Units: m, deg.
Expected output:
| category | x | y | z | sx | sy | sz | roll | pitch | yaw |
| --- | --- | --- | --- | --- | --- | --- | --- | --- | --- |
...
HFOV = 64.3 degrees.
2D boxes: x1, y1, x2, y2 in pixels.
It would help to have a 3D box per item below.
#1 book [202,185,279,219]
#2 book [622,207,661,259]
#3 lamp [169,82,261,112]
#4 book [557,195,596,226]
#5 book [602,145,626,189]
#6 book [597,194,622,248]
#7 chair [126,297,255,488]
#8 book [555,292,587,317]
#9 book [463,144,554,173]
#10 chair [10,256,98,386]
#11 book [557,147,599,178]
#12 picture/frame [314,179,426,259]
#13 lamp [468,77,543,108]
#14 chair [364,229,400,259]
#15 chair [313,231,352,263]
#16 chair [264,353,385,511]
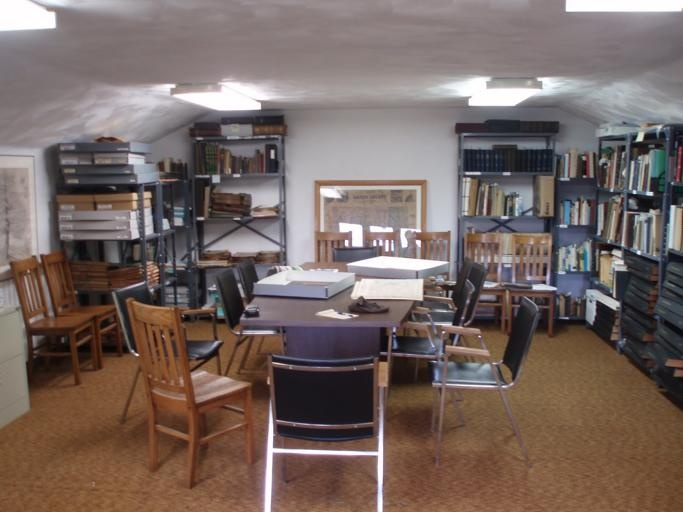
| category | x | y | z | sx | sy | sz | roll | pitch | yaw |
| --- | --- | --- | --- | --- | --- | --- | --- | --- | --- |
| book | -1.318 | -0.702 | 7.084 | 0.959 | 0.390 | 0.334 | -1 | 13 | -1 |
| book | 3.011 | -0.205 | 5.344 | 0.316 | 0.392 | 0.143 | 1 | -3 | 45 |
| lamp | -1.273 | -1.619 | 5.538 | 0.543 | 0.178 | 1.005 | 2 | 12 | 13 |
| book | 2.945 | -0.535 | 6.893 | 0.477 | 0.417 | 0.331 | 0 | 0 | 8 |
| book | 3.057 | -0.977 | 6.057 | 0.322 | 0.529 | 0.568 | 1 | 9 | 19 |
| book | 3.036 | -0.414 | 6.110 | 0.126 | 0.464 | 0.495 | 7 | 12 | 15 |
| chair | -1.096 | 0.848 | 3.842 | 0.664 | 1.242 | 0.860 | -9 | 16 | -29 |
| book | 2.890 | 0.663 | 6.851 | 0.374 | 0.348 | 0.307 | 2 | 13 | 9 |
| book | 2.095 | -1.195 | 6.799 | 1.086 | 0.315 | 0.240 | -2 | 13 | -5 |
| chair | -2.857 | 0.582 | 5.409 | 0.635 | 1.163 | 1.193 | -9 | 15 | -31 |
| book | 2.912 | -1.116 | 6.705 | 0.454 | 0.377 | 0.357 | 1 | 0 | 10 |
| picture/frame | 0.409 | -0.493 | 7.031 | 1.212 | 0.891 | 0.044 | 0 | 4 | 5 |
| lamp | 1.648 | -1.643 | 5.444 | 0.547 | 0.186 | 0.804 | 0 | 12 | 0 |
| chair | 0.523 | -0.148 | 6.706 | 0.354 | 0.521 | 0.361 | 0 | 0 | 5 |
| chair | -0.103 | -0.127 | 6.846 | 0.457 | 0.384 | 0.576 | -1 | 13 | -4 |
| chair | -0.101 | 1.024 | 3.277 | 0.719 | 1.092 | 0.581 | 0 | 14 | 3 |
